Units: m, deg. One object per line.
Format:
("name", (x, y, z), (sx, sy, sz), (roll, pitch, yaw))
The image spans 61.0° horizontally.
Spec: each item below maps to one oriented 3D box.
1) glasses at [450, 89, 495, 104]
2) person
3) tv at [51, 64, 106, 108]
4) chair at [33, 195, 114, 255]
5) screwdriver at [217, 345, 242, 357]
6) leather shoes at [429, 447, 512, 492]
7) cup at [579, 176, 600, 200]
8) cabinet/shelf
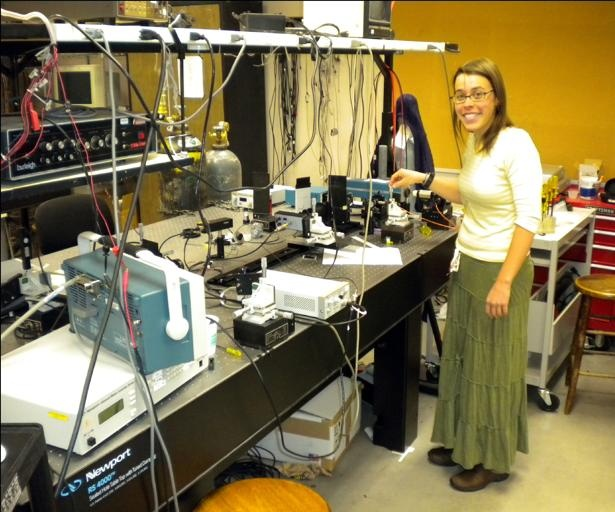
("glasses", (0.681, -0.670, 2.216), (0.087, 0.061, 0.182), (-13, 23, -39))
("person", (0.807, 0.129, 2.463), (0.356, 1.964, 0.567), (-12, 20, -38))
("tv", (-1.503, -1.095, 3.355), (0.269, 0.285, 0.154), (-11, 40, -32))
("chair", (-1.188, -0.157, 2.623), (0.221, 0.344, 0.249), (-14, 16, -35))
("screwdriver", (-0.249, 0.304, 1.674), (0.062, 0.020, 0.015), (11, 7, 34))
("leather shoes", (0.793, 1.073, 2.588), (0.178, 0.082, 0.228), (5, 10, -9))
("cup", (2.089, -0.502, 3.891), (0.121, 0.161, 0.166), (1, 9, 15))
("cabinet/shelf", (1.532, 0.347, 3.177), (0.417, 0.866, 0.930), (7, 19, 29))
